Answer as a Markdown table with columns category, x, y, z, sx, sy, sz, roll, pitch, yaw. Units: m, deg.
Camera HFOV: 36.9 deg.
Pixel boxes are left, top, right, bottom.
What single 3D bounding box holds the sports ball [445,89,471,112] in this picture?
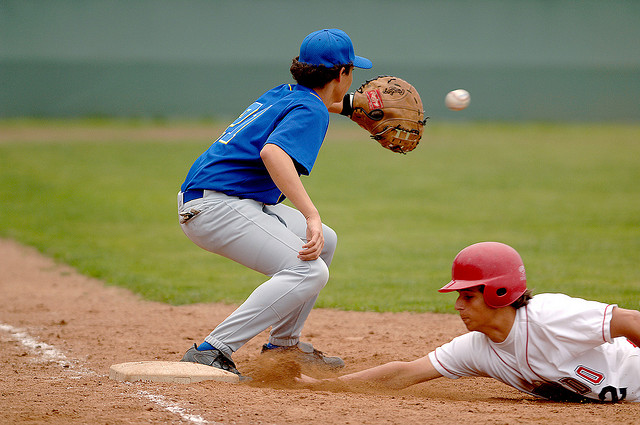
| category | x | y | z | sx | sy | sz | roll | pitch | yaw |
| --- | --- | --- | --- | --- | --- | --- | --- | --- | --- |
| sports ball | 1.774 | -1.462 | 12.521 | 0.389 | 0.248 | 0.276 | -6 | -3 | -4 |
